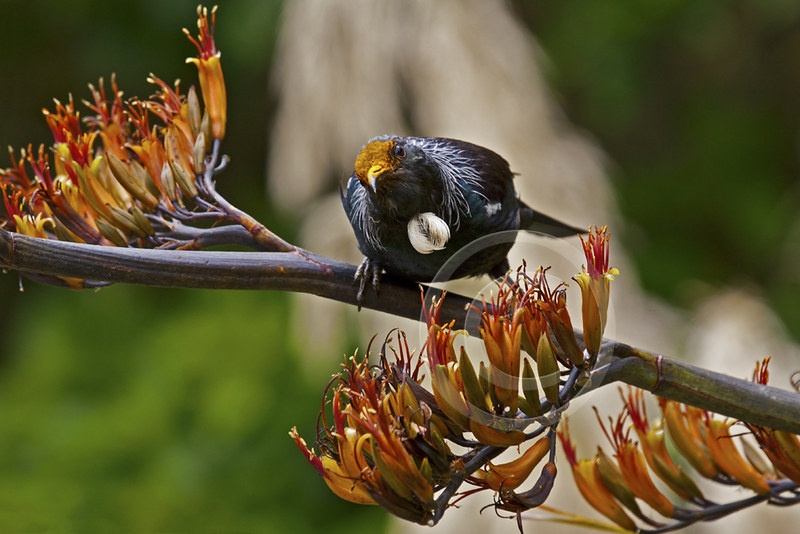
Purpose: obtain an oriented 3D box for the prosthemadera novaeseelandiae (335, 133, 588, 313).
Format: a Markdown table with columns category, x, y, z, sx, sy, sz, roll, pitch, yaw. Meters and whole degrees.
| category | x | y | z | sx | sy | sz | roll | pitch | yaw |
| --- | --- | --- | --- | --- | --- | --- | --- | --- | --- |
| prosthemadera novaeseelandiae | 0.146 | -0.191 | 2.255 | 0.254 | 0.595 | 0.307 | -1 | -58 | 32 |
